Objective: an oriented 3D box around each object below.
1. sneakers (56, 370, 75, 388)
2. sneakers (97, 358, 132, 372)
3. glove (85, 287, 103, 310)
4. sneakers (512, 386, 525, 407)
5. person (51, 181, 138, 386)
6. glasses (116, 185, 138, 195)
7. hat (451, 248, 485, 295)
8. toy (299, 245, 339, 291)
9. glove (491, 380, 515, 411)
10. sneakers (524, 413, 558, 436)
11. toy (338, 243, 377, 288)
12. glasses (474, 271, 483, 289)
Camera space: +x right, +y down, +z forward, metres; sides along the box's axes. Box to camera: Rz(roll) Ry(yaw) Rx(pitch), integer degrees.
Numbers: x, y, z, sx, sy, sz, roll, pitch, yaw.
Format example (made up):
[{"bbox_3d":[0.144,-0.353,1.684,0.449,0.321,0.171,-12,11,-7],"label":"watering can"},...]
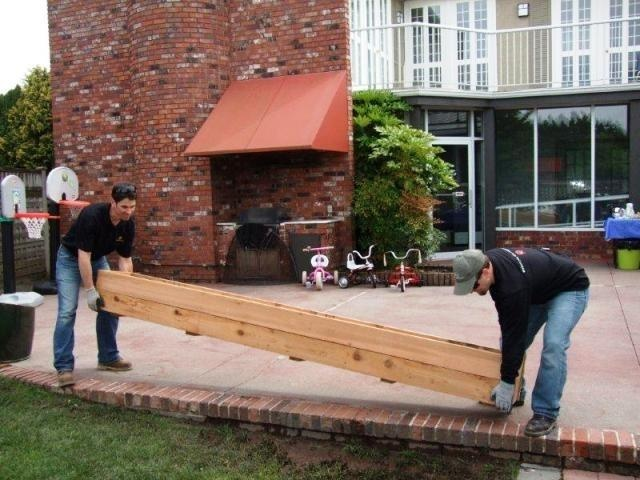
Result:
[{"bbox_3d":[-2.971,1.635,8.606,0.203,0.177,0.213,-6,11,-22],"label":"sneakers"},{"bbox_3d":[-2.536,1.564,9.103,0.398,0.216,0.169,-1,-1,1],"label":"sneakers"},{"bbox_3d":[-2.672,0.715,8.706,0.170,0.348,0.193,-8,12,-31],"label":"glove"},{"bbox_3d":[2.166,1.725,8.042,0.143,0.241,0.219,0,3,6],"label":"sneakers"},{"bbox_3d":[-2.726,0.487,8.853,1.066,2.331,0.691,-5,11,-20],"label":"person"},{"bbox_3d":[-2.269,-0.580,8.555,0.240,0.142,0.124,-7,12,-25],"label":"glasses"},{"bbox_3d":[1.497,0.331,7.453,0.277,0.475,0.262,13,-19,44],"label":"hat"},{"bbox_3d":[-0.005,0.527,13.754,0.713,0.766,0.862,-2,10,-2],"label":"toy"},{"bbox_3d":[1.879,1.593,7.515,0.224,0.314,0.080,18,-9,31],"label":"glove"},{"bbox_3d":[2.198,1.868,7.381,0.341,0.169,0.154,-11,35,-6],"label":"sneakers"},{"bbox_3d":[0.709,0.525,14.015,0.783,0.811,0.589,0,3,41],"label":"toy"},{"bbox_3d":[1.591,0.406,7.428,0.034,0.142,0.126,-6,-19,27],"label":"glasses"}]
